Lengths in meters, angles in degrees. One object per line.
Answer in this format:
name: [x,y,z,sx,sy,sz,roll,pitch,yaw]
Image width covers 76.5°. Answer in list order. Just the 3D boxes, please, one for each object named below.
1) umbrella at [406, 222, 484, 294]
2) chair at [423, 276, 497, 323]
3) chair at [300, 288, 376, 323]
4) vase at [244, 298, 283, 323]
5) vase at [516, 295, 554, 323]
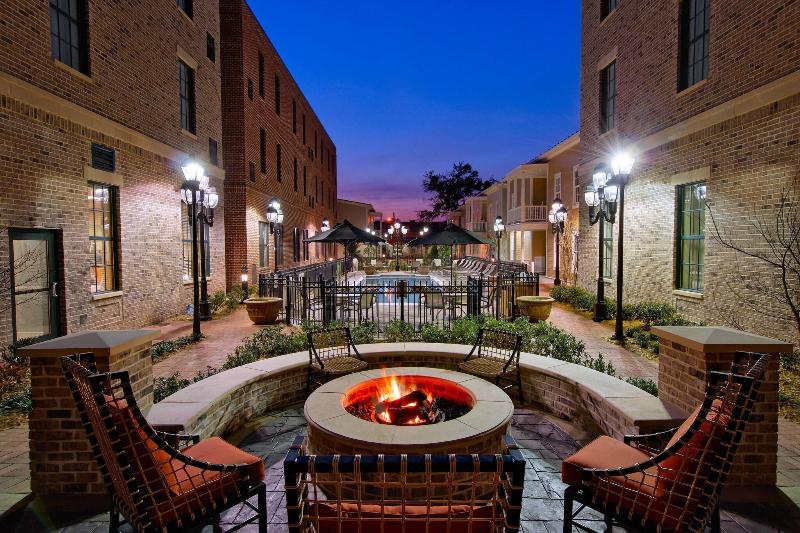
umbrella: [1.630,-0.734,17.097,1.923,1.398,1.878,-2,15,-11]
chair: [1.672,0.990,15.404,1.636,0.865,1.710,-1,0,-4]
chair: [-1.828,1.153,15.105,1.895,1.235,4.414,-2,3,-6]
vase: [-4.030,1.253,14.911,0.809,0.515,0.835,-1,5,18]
vase: [3.897,1.190,14.953,0.862,0.604,0.883,1,-4,2]
